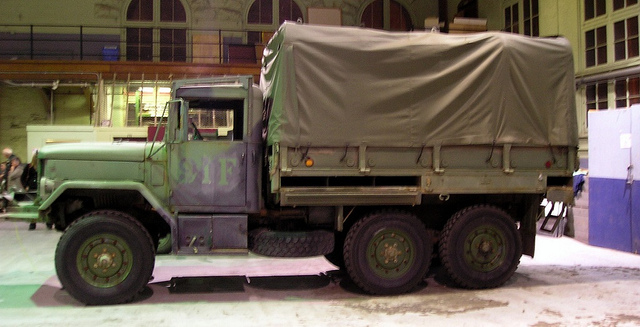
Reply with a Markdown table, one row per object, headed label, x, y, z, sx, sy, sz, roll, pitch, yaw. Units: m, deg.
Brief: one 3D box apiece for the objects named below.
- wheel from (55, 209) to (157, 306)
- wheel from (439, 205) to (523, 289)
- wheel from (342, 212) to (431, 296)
| label | x | y | z | sx | sy | sz | roll | pitch | yaw |
| --- | --- | --- | --- | --- | --- | --- | --- | --- | --- |
| wheel | -6.204 | 2.699 | 15.475 | 2.021 | 2.020 | 0.707 | 28 | 0 | -1 |
| wheel | 4.856 | 2.491 | 16.194 | 2.483 | 2.487 | 0.713 | 0 | -1 | -1 |
| wheel | 1.991 | 2.634 | 15.928 | 2.408 | 2.387 | 0.756 | 0 | -2 | -7 |
